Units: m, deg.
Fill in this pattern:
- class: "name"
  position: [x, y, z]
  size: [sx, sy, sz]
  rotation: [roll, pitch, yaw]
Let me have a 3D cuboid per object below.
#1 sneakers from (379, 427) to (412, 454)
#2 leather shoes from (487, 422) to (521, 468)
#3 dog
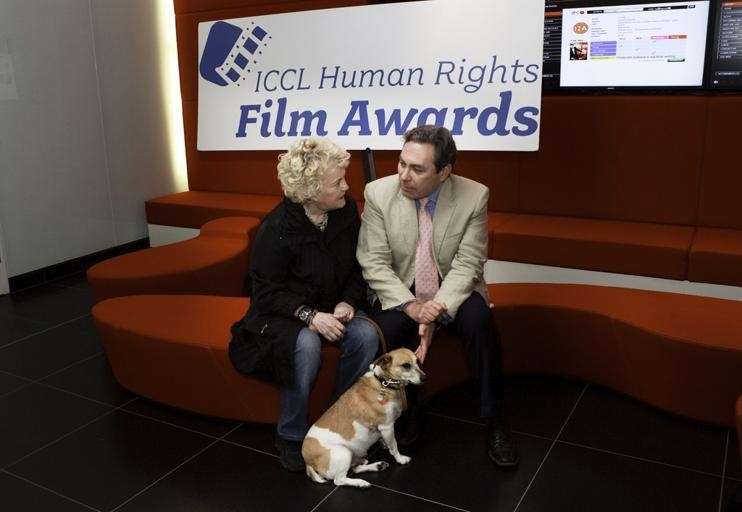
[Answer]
- class: "sneakers"
  position: [0.128, 0.958, 2.547]
  size: [0.158, 0.110, 0.048]
  rotation: [-18, -17, -9]
- class: "leather shoes"
  position: [0.676, 0.932, 2.536]
  size: [0.142, 0.119, 0.314]
  rotation: [2, 15, 5]
- class: "dog"
  position: [-0.047, 0.756, 2.397]
  size: [0.562, 0.616, 0.330]
  rotation: [-5, 8, -2]
